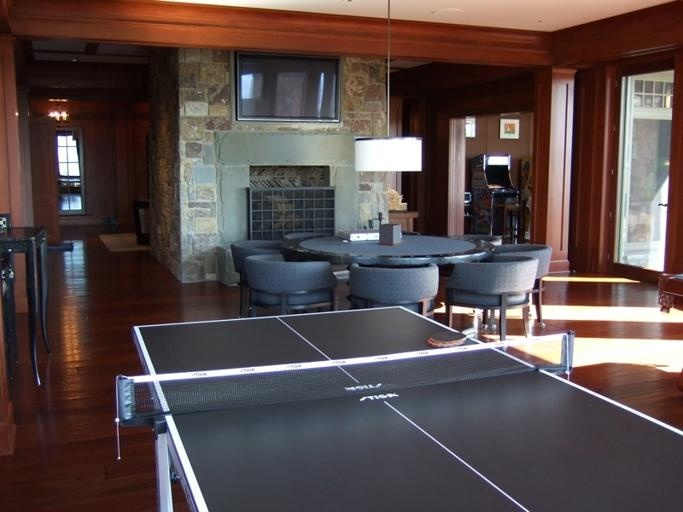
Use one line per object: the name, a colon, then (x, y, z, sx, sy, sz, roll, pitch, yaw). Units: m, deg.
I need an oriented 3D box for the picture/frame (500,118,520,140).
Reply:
picture/frame: (4.050, -3.079, 13.505, 0.567, 0.587, 0.059, 0, 3, -23)

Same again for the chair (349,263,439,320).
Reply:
chair: (0.440, 0.208, 4.740, 0.557, 0.495, 0.503, 1, 15, 2)

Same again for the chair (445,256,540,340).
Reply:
chair: (1.382, 0.313, 5.298, 0.898, 0.839, 0.784, -6, 9, -44)

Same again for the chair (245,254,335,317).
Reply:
chair: (-0.439, 0.244, 4.945, 0.573, 0.498, 0.667, -5, 8, -39)
